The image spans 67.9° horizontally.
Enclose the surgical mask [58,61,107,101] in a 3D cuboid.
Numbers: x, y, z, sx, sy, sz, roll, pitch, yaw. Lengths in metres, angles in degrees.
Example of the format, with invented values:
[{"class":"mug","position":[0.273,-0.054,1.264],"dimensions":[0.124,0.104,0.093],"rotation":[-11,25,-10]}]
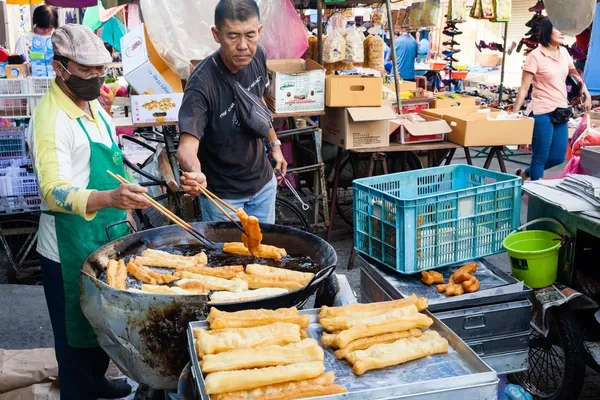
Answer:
[{"class":"surgical mask","position":[-1.456,-0.789,2.982],"dimensions":[0.229,0.247,0.237],"rotation":[-7,19,-39]}]

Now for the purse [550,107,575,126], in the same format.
[{"class":"purse","position":[4.204,-1.332,7.128],"dimensions":[0.284,0.287,0.120],"rotation":[1,26,-8]}]

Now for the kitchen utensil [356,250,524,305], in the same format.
[{"class":"kitchen utensil","position":[0.998,0.548,3.146],"dimensions":[0.610,0.205,0.721],"rotation":[0,25,-17]}]

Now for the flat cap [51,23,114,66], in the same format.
[{"class":"flat cap","position":[-1.465,-1.066,3.005],"dimensions":[0.469,0.213,0.335],"rotation":[26,27,21]}]
